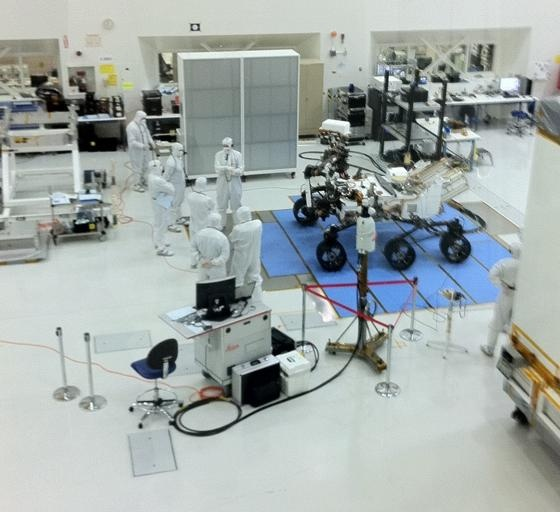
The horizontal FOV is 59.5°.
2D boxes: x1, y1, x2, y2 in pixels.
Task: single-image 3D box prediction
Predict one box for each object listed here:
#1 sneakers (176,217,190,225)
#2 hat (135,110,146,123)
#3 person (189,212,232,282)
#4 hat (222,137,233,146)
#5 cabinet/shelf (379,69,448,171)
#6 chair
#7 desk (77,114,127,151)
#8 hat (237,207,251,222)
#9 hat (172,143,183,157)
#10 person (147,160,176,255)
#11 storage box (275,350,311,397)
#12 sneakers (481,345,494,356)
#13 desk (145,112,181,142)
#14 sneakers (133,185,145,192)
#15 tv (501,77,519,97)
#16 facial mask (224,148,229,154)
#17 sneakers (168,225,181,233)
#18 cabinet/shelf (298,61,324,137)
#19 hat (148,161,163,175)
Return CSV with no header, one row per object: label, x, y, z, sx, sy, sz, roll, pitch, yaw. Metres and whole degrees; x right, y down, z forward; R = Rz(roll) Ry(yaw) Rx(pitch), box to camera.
sneakers,-2.240,-0.807,11.187,0.309,0.113,0.201,3,21,25
hat,-3.615,-3.554,12.568,0.297,0.316,0.251,-4,33,-5
person,-1.045,-0.074,7.370,0.511,1.108,0.564,-14,25,-26
hat,-1.099,-2.381,10.256,0.166,0.177,0.327,-1,24,5
cabinet/shelf,3.611,-3.644,13.202,0.846,2.579,3.041,-6,23,-8
chair,-1.559,1.650,6.157,0.574,1.011,0.632,-11,46,-26
desk,-5.430,-3.636,14.801,1.105,0.906,1.189,-3,24,-10
hat,-0.562,-0.607,7.393,0.227,0.256,0.230,-1,24,4
hat,-2.162,-2.212,10.274,0.223,0.302,0.335,-8,23,-12
person,-2.369,-0.971,9.803,0.554,1.780,0.690,0,22,8
storage box,0.133,1.481,6.548,0.412,0.529,0.520,-13,29,-25
sneakers,3.050,1.401,7.209,0.065,0.133,0.216,-8,44,-11
desk,-3.411,-3.731,14.126,1.025,1.046,0.585,-3,13,-13
sneakers,-3.660,-1.739,12.702,0.324,0.100,0.198,11,27,28
tv,6.093,-4.478,13.032,0.487,0.512,0.409,6,26,22
facial mask,-1.111,-2.195,10.251,0.073,0.081,0.135,5,-11,-7
sneakers,-2.347,-0.613,10.868,0.247,0.107,0.143,11,32,19
cabinet/shelf,0.999,-4.914,15.460,0.848,2.336,0.444,-5,22,-5
hat,-2.460,-1.752,9.711,0.262,0.285,0.234,-13,41,-16
